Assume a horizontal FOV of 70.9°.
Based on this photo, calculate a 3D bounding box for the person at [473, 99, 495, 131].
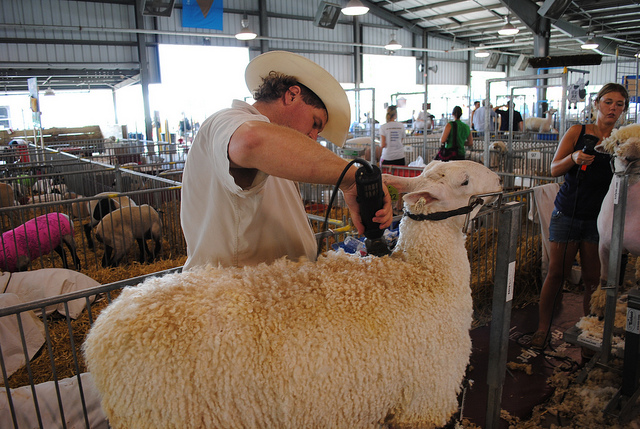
[{"bbox_3d":[5.973,-3.527,16.454,0.583,0.472,1.454,6,-35,12],"label":"person"}]

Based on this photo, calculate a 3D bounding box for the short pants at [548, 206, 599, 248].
[{"bbox_3d":[2.874,0.253,5.163,0.542,0.452,0.438,-11,-20,7],"label":"short pants"}]

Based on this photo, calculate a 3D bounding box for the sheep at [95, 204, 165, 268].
[{"bbox_3d":[-3.260,0.404,7.894,0.457,1.074,1.624,-1,6,20],"label":"sheep"}]

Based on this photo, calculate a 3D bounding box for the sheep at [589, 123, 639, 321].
[{"bbox_3d":[3.003,0.149,4.480,0.437,2.008,1.205,0,-1,28],"label":"sheep"}]

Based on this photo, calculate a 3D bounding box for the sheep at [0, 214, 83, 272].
[{"bbox_3d":[-4.448,0.467,7.150,0.765,0.922,1.380,1,0,28],"label":"sheep"}]

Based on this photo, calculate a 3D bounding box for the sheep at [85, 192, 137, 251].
[{"bbox_3d":[-3.736,0.002,7.933,0.306,0.791,1.272,0,10,23],"label":"sheep"}]

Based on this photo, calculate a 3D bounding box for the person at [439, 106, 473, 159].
[{"bbox_3d":[3.086,-1.687,10.001,0.872,0.913,0.447,1,-1,-40],"label":"person"}]
